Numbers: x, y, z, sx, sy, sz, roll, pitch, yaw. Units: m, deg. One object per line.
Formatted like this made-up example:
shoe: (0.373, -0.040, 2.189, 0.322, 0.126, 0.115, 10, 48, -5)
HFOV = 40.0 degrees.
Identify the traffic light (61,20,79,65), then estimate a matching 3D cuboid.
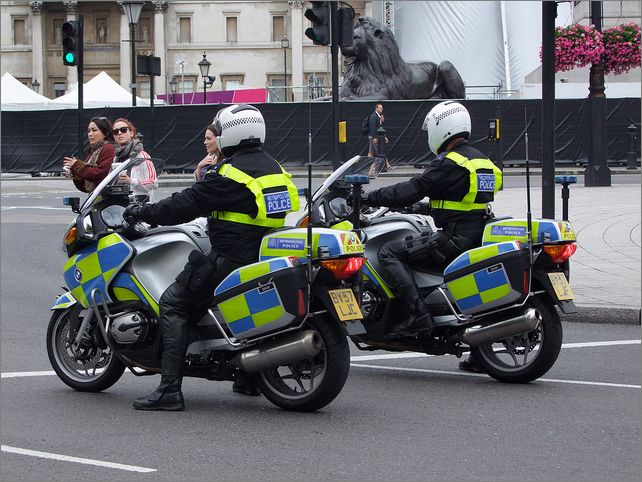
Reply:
traffic light: (-5.077, -4.013, 17.763, 0.341, 0.891, 0.816, -4, 9, -16)

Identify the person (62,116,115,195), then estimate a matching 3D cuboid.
person: (-2.708, -0.974, 10.210, 0.505, 1.351, 0.403, -1, 1, -39)

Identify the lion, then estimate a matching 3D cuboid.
lion: (2.856, -6.980, 34.209, 2.415, 3.165, 7.060, 7, 12, 44)

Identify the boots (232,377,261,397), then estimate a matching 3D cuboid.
boots: (-0.638, 1.197, 7.253, 0.119, 0.156, 0.393, 0, 3, -19)

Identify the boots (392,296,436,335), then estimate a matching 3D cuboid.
boots: (0.857, 0.710, 7.887, 0.171, 0.316, 0.427, 4, -7, -41)

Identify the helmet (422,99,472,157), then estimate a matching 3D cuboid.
helmet: (1.094, -1.053, 8.188, 0.397, 0.522, 0.510, -3, 10, -31)

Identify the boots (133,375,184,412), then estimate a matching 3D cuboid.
boots: (-1.243, 1.232, 7.115, 0.456, 0.367, 0.201, 3, -1, 7)

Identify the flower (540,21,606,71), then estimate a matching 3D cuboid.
flower: (7.023, -5.062, 23.835, 1.229, 1.106, 1.190, -3, 9, -36)
